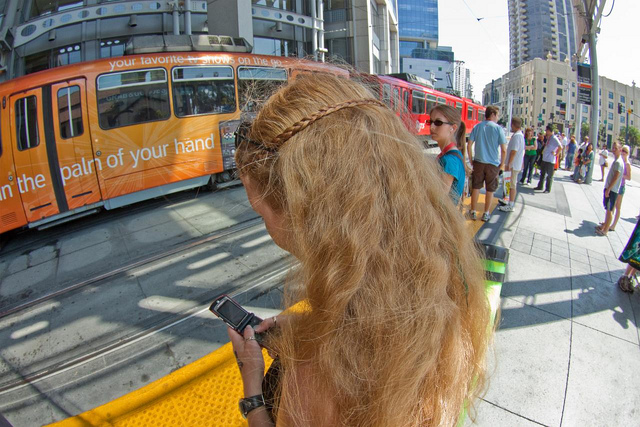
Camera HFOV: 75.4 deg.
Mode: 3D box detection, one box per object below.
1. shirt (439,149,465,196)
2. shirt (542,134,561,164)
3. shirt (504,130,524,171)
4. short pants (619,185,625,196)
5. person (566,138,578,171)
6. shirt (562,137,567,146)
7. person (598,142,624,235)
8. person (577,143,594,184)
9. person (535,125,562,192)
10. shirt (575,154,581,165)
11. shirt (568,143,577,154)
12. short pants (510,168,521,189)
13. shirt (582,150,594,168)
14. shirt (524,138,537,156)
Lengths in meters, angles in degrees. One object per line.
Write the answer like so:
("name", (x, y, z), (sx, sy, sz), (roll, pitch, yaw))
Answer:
("shirt", (1.969, -0.618, 6.176), (0.507, 0.728, 0.311), (-14, 5, -44))
("shirt", (6.987, -1.981, 12.524), (0.394, 0.694, 0.766), (10, 19, 30))
("shirt", (4.833, -1.564, 10.270), (0.387, 1.010, 0.776), (8, 8, 32))
("short pants", (6.811, -0.553, 9.341), (0.168, 0.207, 0.055), (-9, 17, -30))
("person", (10.003, -2.368, 16.426), (0.322, 1.283, 0.494), (10, 17, 34))
("shirt", (10.721, -3.166, 18.098), (0.112, 0.363, 0.638), (12, 21, 39))
("person", (6.682, -0.535, 9.447), (0.304, 1.855, 1.234), (10, 18, 35))
("person", (9.027, -1.698, 14.032), (0.343, 1.307, 0.622), (9, 17, 30))
("person", (7.121, -1.787, 12.878), (0.503, 1.874, 1.923), (9, 18, 30))
("shirt", (9.118, -1.945, 14.584), (0.047, 0.445, 0.708), (7, 19, 26))
("shirt", (9.887, -2.587, 16.246), (0.259, 0.565, 0.317), (-9, -15, 39))
("short pants", (4.687, -0.822, 10.038), (0.197, 0.467, 0.592), (8, 18, 25))
("shirt", (8.952, -1.875, 13.865), (0.267, 0.594, 0.372), (-11, 19, -36))
("shirt", (7.027, -2.261, 13.837), (0.343, 0.504, 0.604), (8, 19, 24))
